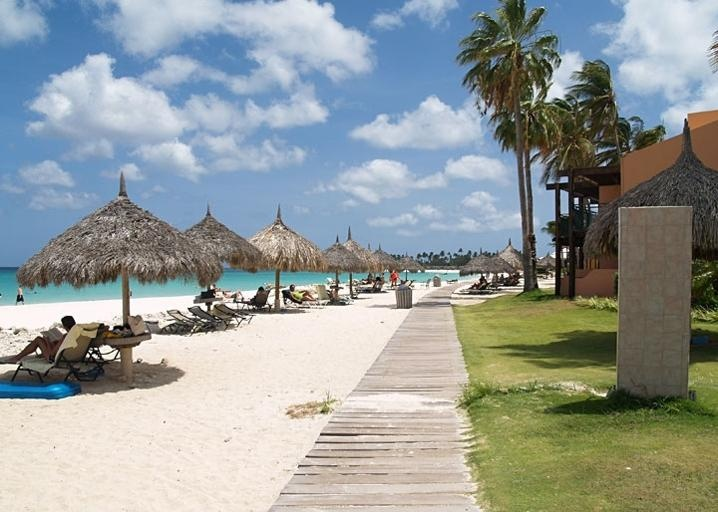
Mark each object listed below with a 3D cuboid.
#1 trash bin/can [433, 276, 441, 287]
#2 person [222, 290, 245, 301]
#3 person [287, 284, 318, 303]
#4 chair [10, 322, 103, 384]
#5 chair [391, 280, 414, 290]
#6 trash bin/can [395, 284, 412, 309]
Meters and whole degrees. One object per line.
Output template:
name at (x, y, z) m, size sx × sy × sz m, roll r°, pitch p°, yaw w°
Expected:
trash bin/can at (5.194, 1.711, 40.693) m, size 0.572 × 0.857 × 0.635 m, roll -2°, pitch 0°, yaw 30°
person at (-6.834, 2.146, 33.140) m, size 1.223 × 0.403 × 0.956 m, roll 4°, pitch -1°, yaw 35°
person at (-2.317, 1.503, 23.593) m, size 1.291 × 0.620 × 0.925 m, roll 0°, pitch -3°, yaw -1°
chair at (-5.484, 1.752, 11.131) m, size 1.458 × 0.882 × 0.936 m, roll -7°, pitch -6°, yaw 14°
chair at (2.566, 1.522, 33.449) m, size 0.935 × 0.701 × 1.718 m, roll -3°, pitch -11°, yaw 21°
trash bin/can at (1.713, 1.518, 22.308) m, size 0.752 × 0.770 × 0.695 m, roll 1°, pitch -4°, yaw 14°
